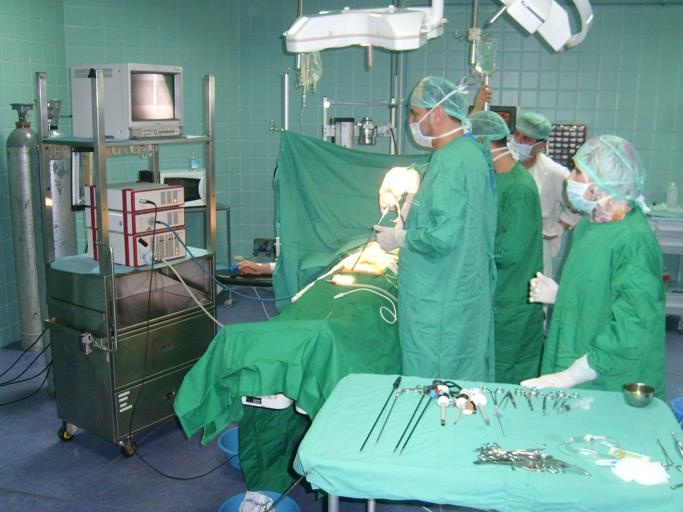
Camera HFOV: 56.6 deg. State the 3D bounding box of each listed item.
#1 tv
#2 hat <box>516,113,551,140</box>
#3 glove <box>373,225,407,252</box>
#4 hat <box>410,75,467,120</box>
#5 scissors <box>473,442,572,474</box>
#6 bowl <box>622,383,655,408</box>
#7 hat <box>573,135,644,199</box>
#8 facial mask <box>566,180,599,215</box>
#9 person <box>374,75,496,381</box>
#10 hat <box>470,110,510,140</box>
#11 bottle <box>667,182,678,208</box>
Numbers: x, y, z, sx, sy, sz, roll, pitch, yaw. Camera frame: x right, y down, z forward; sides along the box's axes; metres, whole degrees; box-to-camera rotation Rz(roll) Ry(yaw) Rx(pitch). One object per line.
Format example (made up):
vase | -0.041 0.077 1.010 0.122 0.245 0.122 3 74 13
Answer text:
tv | -1.121 -0.792 3.311 0.428 0.407 0.514 3 9 17
hat | 1.252 -0.888 4.172 0.163 0.115 0.192 25 20 -13
glove | 0.239 -0.086 3.044 0.144 0.125 0.095 4 12 22
hat | 0.469 -0.780 3.089 0.231 0.142 0.200 34 18 34
scissors | 0.562 0.633 1.981 0.226 0.033 0.107 4 30 17
bowl | 1.041 0.482 2.216 0.081 0.053 0.084 -1 0 0
hat | 1.035 -0.340 2.463 0.255 0.246 0.150 4 14 22
facial mask | 0.940 -0.236 2.519 0.123 0.091 0.115 10 12 15
person | 0.477 -0.106 3.096 0.564 1.493 0.479 -12 16 -37
hat | 0.879 -0.747 3.779 0.226 0.158 0.333 6 19 3
bottle | 2.721 -0.493 5.225 0.076 0.158 0.171 4 15 24
